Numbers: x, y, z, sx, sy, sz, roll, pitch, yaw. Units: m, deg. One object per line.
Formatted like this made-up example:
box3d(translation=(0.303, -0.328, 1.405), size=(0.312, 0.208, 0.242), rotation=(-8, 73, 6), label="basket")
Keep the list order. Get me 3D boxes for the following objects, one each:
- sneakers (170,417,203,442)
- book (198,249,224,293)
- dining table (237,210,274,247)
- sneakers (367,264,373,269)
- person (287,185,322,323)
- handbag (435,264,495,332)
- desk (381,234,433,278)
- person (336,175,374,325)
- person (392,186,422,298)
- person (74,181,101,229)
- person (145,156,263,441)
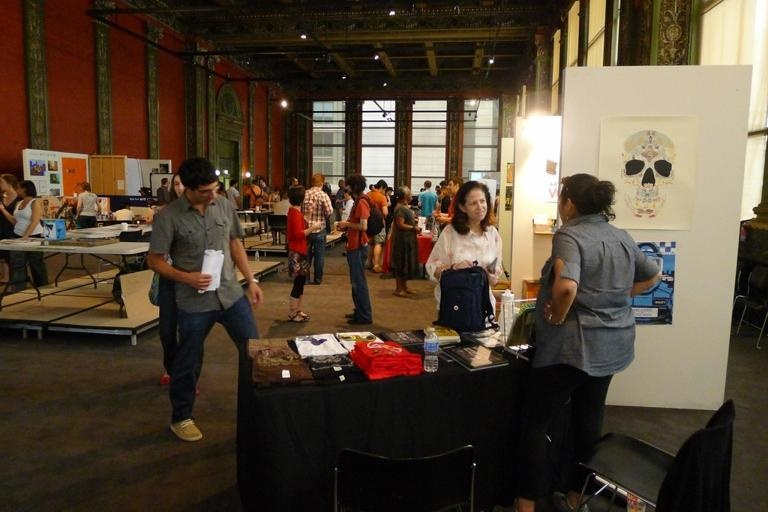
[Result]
box3d(translation=(-1.591, 1.394, 4.158), size=(0.283, 0.104, 0.126), rotation=(2, 2, 33), label="sneakers")
box3d(translation=(-1.278, 0.107, 3.849), size=(0.182, 0.335, 0.197), rotation=(-4, 10, -23), label="book")
box3d(translation=(-2.968, -0.687, 12.181), size=(0.823, 0.290, 1.254), rotation=(-1, 13, -5), label="dining table")
box3d(translation=(-0.293, 0.198, 10.923), size=(0.108, 0.102, 0.304), rotation=(0, 1, 2), label="sneakers")
box3d(translation=(-1.050, -0.047, 6.674), size=(0.430, 1.748, 0.620), rotation=(-2, 9, -8), label="person")
box3d(translation=(0.618, 0.322, 3.923), size=(0.547, 0.493, 0.291), rotation=(0, -1, 5), label="handbag")
box3d(translation=(0.466, -0.010, 9.362), size=(0.886, 0.783, 0.844), rotation=(0, 4, 0), label="desk")
box3d(translation=(-0.366, -0.096, 6.631), size=(0.441, 1.904, 0.625), rotation=(-1, 9, -3), label="person")
box3d(translation=(0.357, -0.301, 8.617), size=(0.473, 1.735, 1.072), rotation=(0, 9, 3), label="person")
box3d(translation=(-5.899, -0.969, 10.310), size=(0.409, 0.683, 0.488), rotation=(-5, 10, -28), label="person")
box3d(translation=(-1.319, 0.356, 4.014), size=(0.964, 2.165, 0.766), rotation=(-7, 12, -27), label="person")
